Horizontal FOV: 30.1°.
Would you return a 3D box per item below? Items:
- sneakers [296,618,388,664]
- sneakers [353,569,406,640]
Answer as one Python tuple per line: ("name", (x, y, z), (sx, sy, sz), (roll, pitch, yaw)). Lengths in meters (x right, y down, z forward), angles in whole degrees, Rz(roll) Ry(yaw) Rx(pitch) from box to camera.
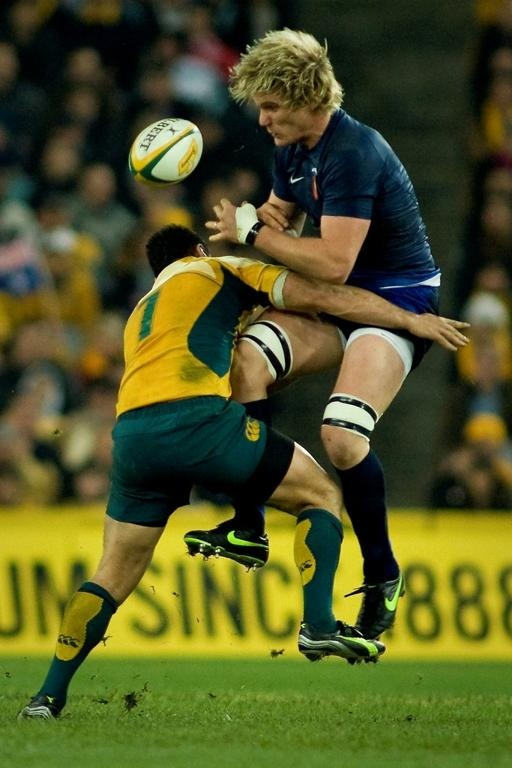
("sneakers", (0.366, 0.959, 3.579), (0.407, 0.138, 0.202), (8, 68, -10))
("sneakers", (0.468, 0.858, 3.788), (0.119, 0.325, 0.159), (14, -10, 44))
